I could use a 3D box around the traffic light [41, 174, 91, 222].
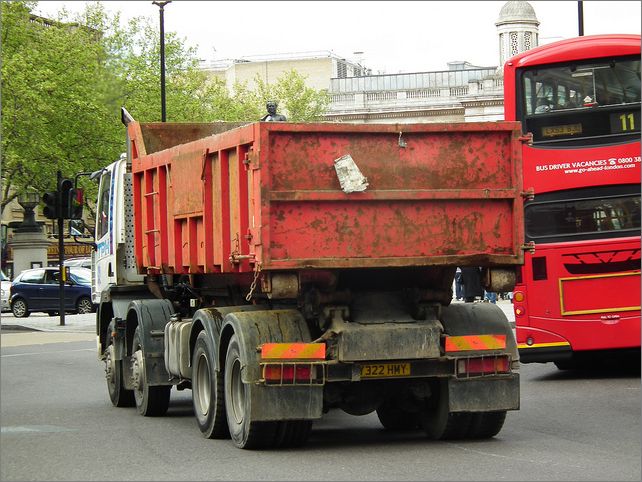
[{"bbox_3d":[-7.217,-1.198,25.504,1.007,1.304,0.872,0,-4,-8],"label":"traffic light"}]

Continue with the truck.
[{"bbox_3d":[-0.446,0.455,10.954,3.000,3.105,5.445,1,-1,-25],"label":"truck"}]

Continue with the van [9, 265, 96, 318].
[{"bbox_3d":[-10.134,1.914,34.441,3.152,1.548,1.820,-4,-2,7],"label":"van"}]
